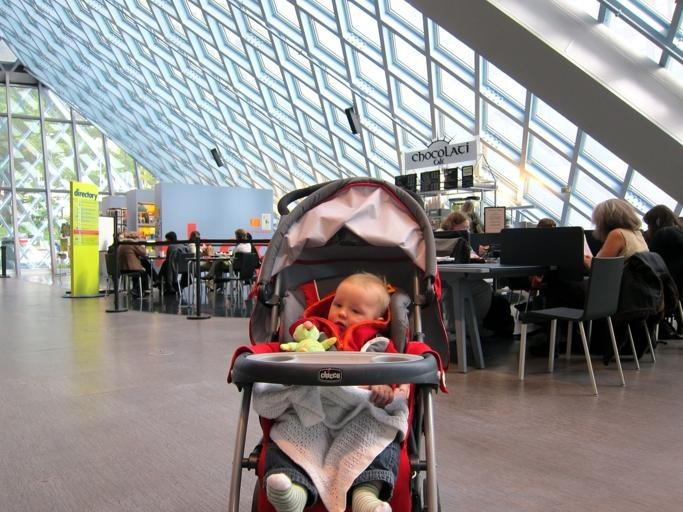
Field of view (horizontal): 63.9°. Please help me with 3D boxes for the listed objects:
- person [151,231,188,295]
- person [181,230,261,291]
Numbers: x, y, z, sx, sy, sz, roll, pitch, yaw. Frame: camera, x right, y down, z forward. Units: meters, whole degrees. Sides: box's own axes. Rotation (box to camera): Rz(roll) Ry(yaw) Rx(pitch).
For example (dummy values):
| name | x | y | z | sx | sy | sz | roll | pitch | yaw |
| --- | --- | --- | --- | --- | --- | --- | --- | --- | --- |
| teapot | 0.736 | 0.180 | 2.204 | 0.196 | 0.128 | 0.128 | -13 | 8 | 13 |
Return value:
| name | x | y | z | sx | sy | sz | roll | pitch | yaw |
| --- | --- | --- | --- | --- | --- | --- | --- | --- | --- |
| person | -3.179 | 0.115 | 10.444 | 0.555 | 1.121 | 0.646 | 2 | 16 | -25 |
| person | -2.193 | 0.133 | 9.614 | 1.471 | 1.084 | 1.579 | 3 | 1 | 2 |
